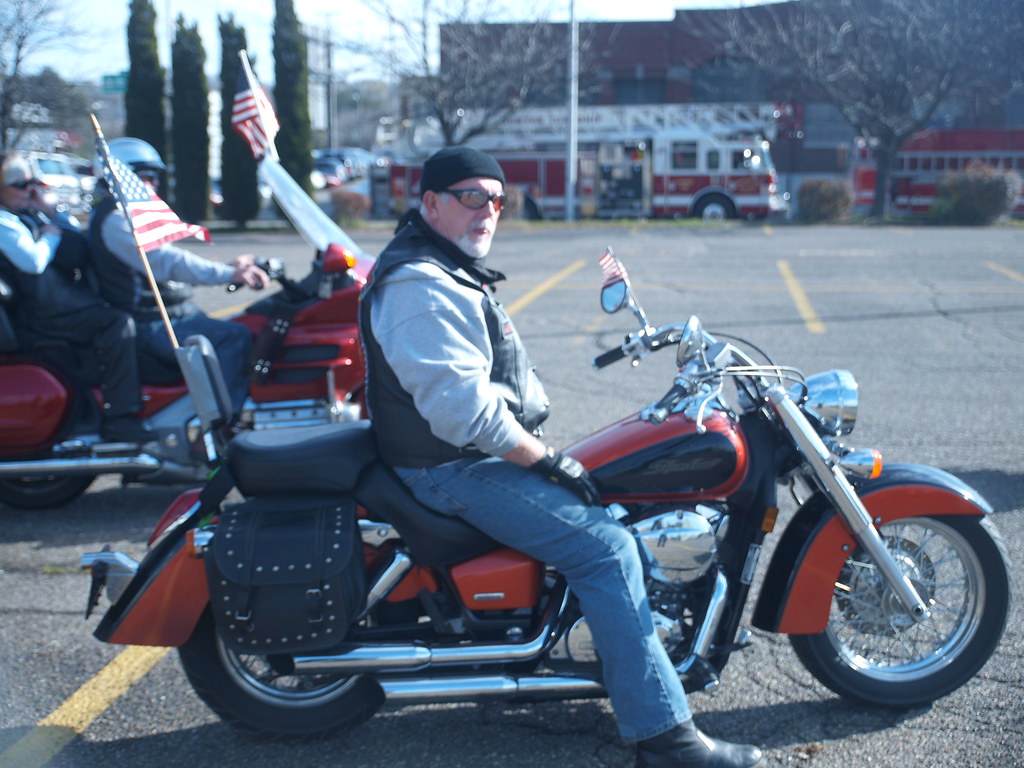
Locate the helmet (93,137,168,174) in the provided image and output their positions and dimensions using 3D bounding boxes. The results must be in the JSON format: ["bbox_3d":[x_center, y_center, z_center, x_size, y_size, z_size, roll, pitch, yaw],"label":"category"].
[{"bbox_3d":[-2.271,-1.362,6.655,0.384,0.228,0.286,-5,23,-25],"label":"helmet"}]

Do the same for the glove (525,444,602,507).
[{"bbox_3d":[0.199,0.402,4.409,0.263,0.099,0.171,35,17,-18],"label":"glove"}]

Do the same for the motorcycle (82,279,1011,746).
[{"bbox_3d":[0.197,0.685,5.296,3.714,2.108,1.813,-2,21,-2],"label":"motorcycle"}]

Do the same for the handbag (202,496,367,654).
[{"bbox_3d":[-0.879,0.651,4.298,0.575,0.590,0.510,-1,3,-5],"label":"handbag"}]

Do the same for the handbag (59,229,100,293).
[{"bbox_3d":[-2.614,-0.731,6.703,0.159,0.322,0.215,-21,35,-18],"label":"handbag"}]
